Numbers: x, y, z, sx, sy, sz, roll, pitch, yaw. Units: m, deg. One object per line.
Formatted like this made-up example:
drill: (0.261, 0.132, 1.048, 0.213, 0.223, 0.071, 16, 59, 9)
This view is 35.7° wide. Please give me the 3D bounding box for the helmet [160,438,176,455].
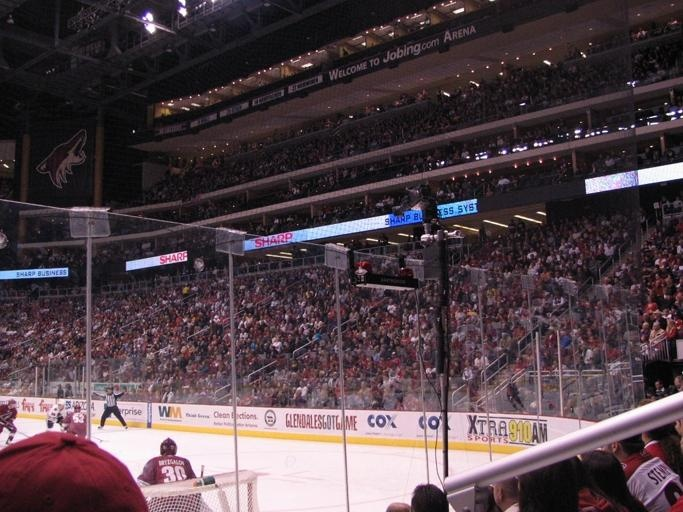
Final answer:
helmet: (-3.830, 4.214, 23.518, 0.264, 0.347, 0.380, 4, -15, -13)
